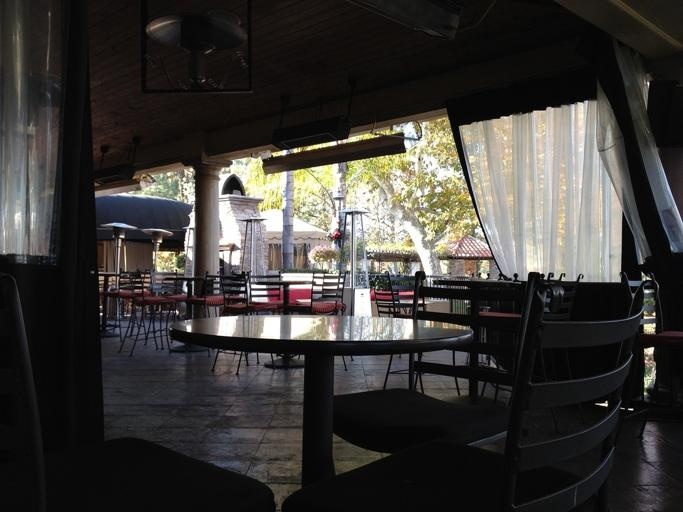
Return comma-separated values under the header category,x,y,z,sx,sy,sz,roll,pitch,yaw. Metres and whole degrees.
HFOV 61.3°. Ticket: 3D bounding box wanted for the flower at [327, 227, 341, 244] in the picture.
category,x,y,z,sx,sy,sz,roll,pitch,yaw
flower,-0.069,-0.405,11.182,0.282,0.259,0.285,1,2,43
